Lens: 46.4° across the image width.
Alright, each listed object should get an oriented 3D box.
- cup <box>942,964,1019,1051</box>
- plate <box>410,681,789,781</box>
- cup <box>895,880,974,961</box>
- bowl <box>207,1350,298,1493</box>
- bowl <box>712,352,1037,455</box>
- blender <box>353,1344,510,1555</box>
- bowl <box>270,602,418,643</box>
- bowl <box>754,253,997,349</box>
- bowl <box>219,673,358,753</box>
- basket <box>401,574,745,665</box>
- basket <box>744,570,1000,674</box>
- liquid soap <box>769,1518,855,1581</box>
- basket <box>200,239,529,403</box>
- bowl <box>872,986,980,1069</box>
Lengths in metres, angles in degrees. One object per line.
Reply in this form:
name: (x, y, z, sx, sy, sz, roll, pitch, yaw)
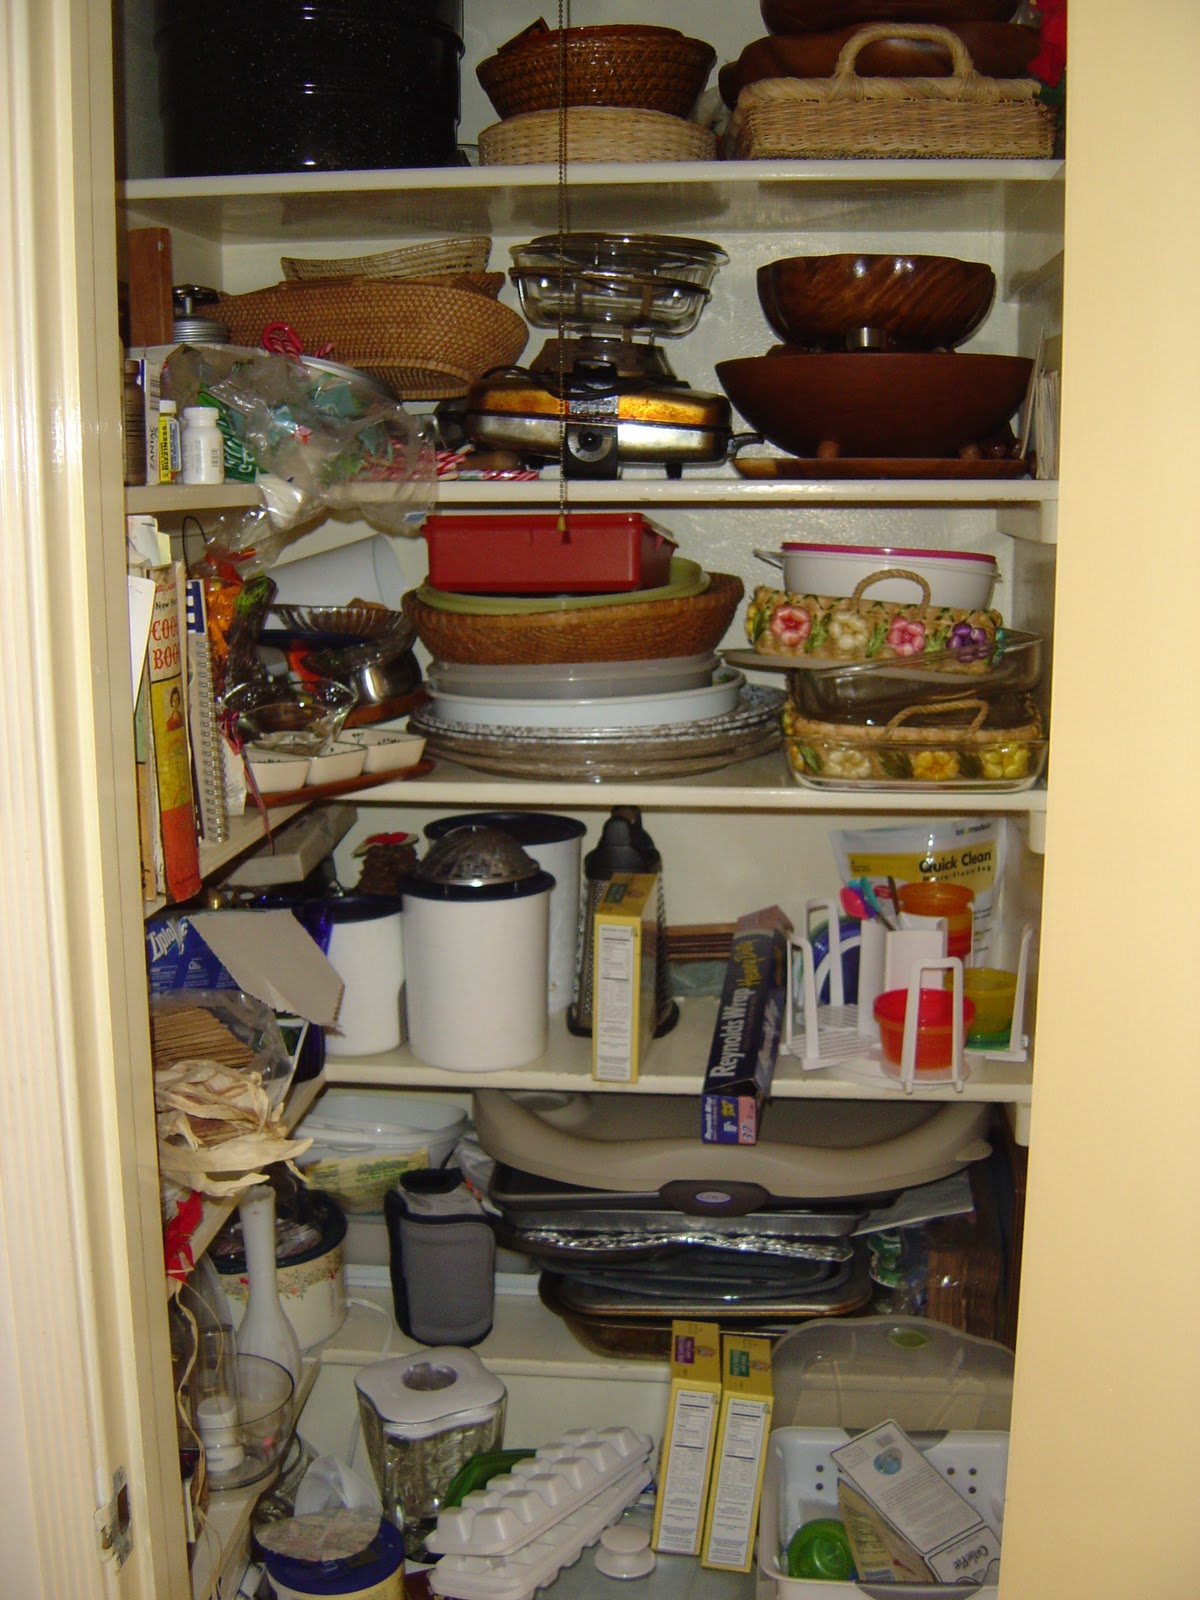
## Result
cup: (0.363, 0.197, 1.337, 0.072, 0.052, 0.072, 1, 5, 0)
plate: (0.000, -0.050, 1.302, 0.353, 0.057, 0.136, -3, 13, -4)
cup: (0.314, 0.114, 1.340, 0.078, 0.067, 0.072, 0, 0, 0)
bowl: (-0.263, 0.480, 1.096, 0.085, 0.055, 0.098, 1, 8, -2)
bowl: (0.237, -0.342, 1.222, 0.260, 0.088, 0.133, -1, 13, 4)
blender: (-0.174, 0.629, 1.357, 0.135, 0.149, 0.125, 4, 5, -21)
bowl: (-0.244, -0.162, 1.277, 0.139, 0.035, 0.040, 0, 13, 7)
bowl: (0.240, -0.430, 1.221, 0.201, 0.085, 0.117, -1, 13, 5)
bowl: (-0.255, -0.075, 1.185, 0.077, 0.056, 0.156, 1, 13, 14)
basket: (-0.012, -0.160, 1.282, 0.320, 0.073, 0.161, -4, 13, -9)
basket: (0.237, -0.159, 1.220, 0.217, 0.080, 0.070, -1, 14, 5)
liquid soap: (0.174, 0.628, 1.185, 0.048, 0.051, 0.045, 2, -18, 7)
basket: (-0.217, -0.419, 1.275, 0.247, 0.104, 0.169, -3, 7, -1)
bowl: (0.299, 0.209, 1.298, 0.087, 0.075, 0.085, -2, 13, 1)
